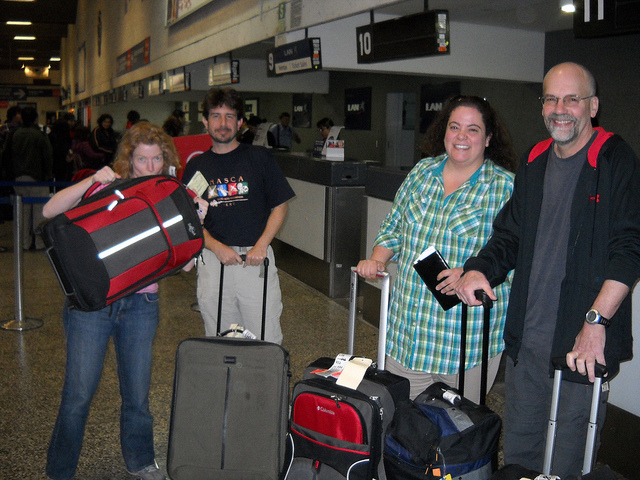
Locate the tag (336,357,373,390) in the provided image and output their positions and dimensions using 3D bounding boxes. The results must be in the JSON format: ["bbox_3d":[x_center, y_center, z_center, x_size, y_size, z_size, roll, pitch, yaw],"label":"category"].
[{"bbox_3d":[0.152,0.542,2.146,0.077,0.016,0.140,10,38,26],"label":"tag"}]

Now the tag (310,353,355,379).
[{"bbox_3d":[0.083,0.514,2.230,0.097,0.049,0.133,2,15,44],"label":"tag"}]

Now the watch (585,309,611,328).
[{"bbox_3d":[0.962,0.269,1.778,0.086,0.071,0.045,-1,11,-7],"label":"watch"}]

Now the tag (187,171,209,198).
[{"bbox_3d":[-0.652,-0.295,2.747,0.115,0.113,0.028,51,16,14],"label":"tag"}]

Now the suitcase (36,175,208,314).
[{"bbox_3d":[-0.846,-0.011,2.237,0.670,0.479,0.199,-36,17,-37],"label":"suitcase"}]

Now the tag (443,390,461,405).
[{"bbox_3d":[0.522,0.615,2.052,0.056,0.023,0.065,-6,13,-29],"label":"tag"}]

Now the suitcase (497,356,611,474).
[{"bbox_3d":[0.861,0.618,1.831,0.432,0.458,0.245,-10,15,-42],"label":"suitcase"}]

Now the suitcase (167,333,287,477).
[{"bbox_3d":[-0.415,0.757,2.328,0.585,0.792,0.281,0,-6,5],"label":"suitcase"}]

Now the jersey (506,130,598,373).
[{"bbox_3d":[0.944,0.066,2.094,0.170,0.901,0.233,8,13,32],"label":"jersey"}]

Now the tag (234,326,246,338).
[{"bbox_3d":[-0.403,0.441,2.532,0.036,0.014,0.055,-3,48,-8],"label":"tag"}]

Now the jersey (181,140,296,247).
[{"bbox_3d":[-0.529,-0.284,3.103,0.749,0.702,0.270,-5,-15,-3],"label":"jersey"}]

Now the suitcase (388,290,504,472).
[{"bbox_3d":[0.565,0.515,2.053,0.350,0.634,0.666,8,13,32],"label":"suitcase"}]
